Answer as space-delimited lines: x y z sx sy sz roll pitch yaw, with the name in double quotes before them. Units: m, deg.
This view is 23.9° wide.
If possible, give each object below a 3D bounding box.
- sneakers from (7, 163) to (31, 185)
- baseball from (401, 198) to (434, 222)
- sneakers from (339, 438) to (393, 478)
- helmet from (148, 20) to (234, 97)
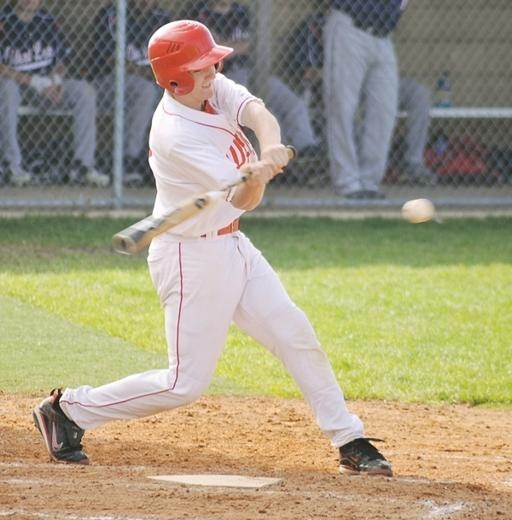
"sneakers" -1.630 -0.590 8.311 0.094 0.144 0.269 0 8 -10
"baseball" 0.760 -0.212 5.659 0.112 0.085 0.117 8 30 27
"sneakers" 0.492 0.874 5.393 0.130 0.165 0.364 3 -1 -25
"helmet" -0.279 -0.890 5.237 0.361 0.294 0.316 -15 28 -15
